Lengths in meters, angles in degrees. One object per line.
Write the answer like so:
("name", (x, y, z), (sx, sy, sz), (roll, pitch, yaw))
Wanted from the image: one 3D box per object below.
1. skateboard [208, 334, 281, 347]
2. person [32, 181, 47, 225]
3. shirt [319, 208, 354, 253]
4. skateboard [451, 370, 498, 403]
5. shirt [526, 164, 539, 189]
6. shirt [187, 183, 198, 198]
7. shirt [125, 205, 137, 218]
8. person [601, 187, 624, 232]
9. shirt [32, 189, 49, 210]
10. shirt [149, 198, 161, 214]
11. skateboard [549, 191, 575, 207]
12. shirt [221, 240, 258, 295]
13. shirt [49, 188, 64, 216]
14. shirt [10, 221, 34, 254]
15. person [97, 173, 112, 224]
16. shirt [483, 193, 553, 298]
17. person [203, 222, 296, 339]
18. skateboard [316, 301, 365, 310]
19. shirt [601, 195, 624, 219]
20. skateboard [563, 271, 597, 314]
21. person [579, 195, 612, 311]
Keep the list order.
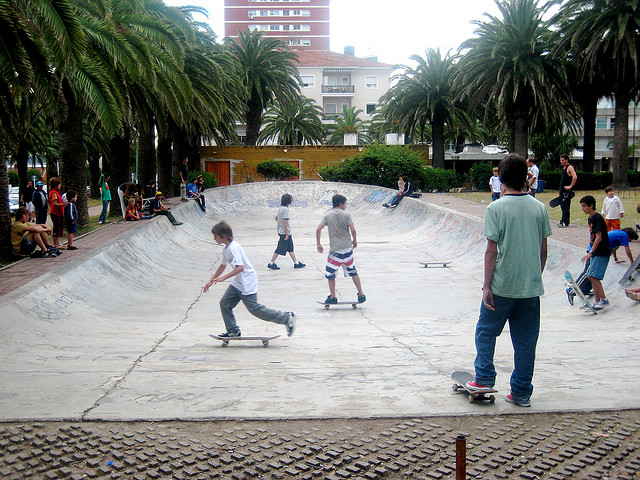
("skateboard", (-0.972, 1.324, 8.577), (1.139, 0.168, 0.293), (0, 3, -3))
("person", (-6.524, -0.891, 14.554), (0.313, 0.954, 0.821), (-4, 8, -24))
("shirt", (0.284, -0.173, 10.745), (0.541, 0.760, 0.320), (0, 8, 2))
("skateboard", (1.561, 1.531, 6.469), (0.324, 0.210, 0.589), (-4, 8, -28))
("shirt", (5.715, -1.694, 16.674), (0.229, 0.629, 1.346), (3, 8, 18))
("shirt", (-5.178, -2.029, 25.357), (0.598, 0.538, 0.315), (7, 21, 16))
("shirt", (-5.724, -0.927, 18.949), (0.335, 0.327, 0.459), (-2, 8, -17))
("person", (5.850, -0.554, 12.454), (0.417, 1.045, 0.316), (-1, 26, 34))
("shirt", (-6.581, -0.969, 14.704), (0.350, 0.481, 0.422), (-3, 8, -24))
("shirt", (-5.131, -1.050, 19.476), (0.498, 0.434, 0.263), (7, 14, 18))
("skateboard", (6.209, -1.031, 16.209), (0.165, 0.290, 1.180), (4, 15, 33))
("shirt", (-1.092, 0.365, 8.437), (0.433, 0.733, 0.327), (-1, 8, -10))
("shirt", (-6.108, -0.879, 14.456), (0.421, 0.668, 0.706), (-3, 17, -22))
("shirt", (-6.187, -0.135, 13.059), (0.534, 0.801, 0.471), (-4, -8, -27))
("person", (-6.739, -1.346, 19.641), (0.435, 1.482, 2.240), (-3, 8, -18))
("shirt", (1.961, 0.050, 6.263), (0.534, 1.012, 0.298), (2, 8, 13))
("person", (-1.067, 0.531, 8.547), (1.081, 1.581, 0.827), (-3, 8, -20))
("skateboard", (0.389, 1.125, 11.030), (0.795, 0.123, 0.221), (-1, 9, -6))
("shirt", (5.848, -0.666, 12.483), (0.344, 0.482, 0.448), (3, 8, 23))
("skateboard", (4.184, 0.713, 10.288), (0.148, 1.011, 0.287), (-33, -2, 9))
("person", (4.502, 0.202, 10.195), (0.519, 1.811, 0.851), (3, 9, 22))
